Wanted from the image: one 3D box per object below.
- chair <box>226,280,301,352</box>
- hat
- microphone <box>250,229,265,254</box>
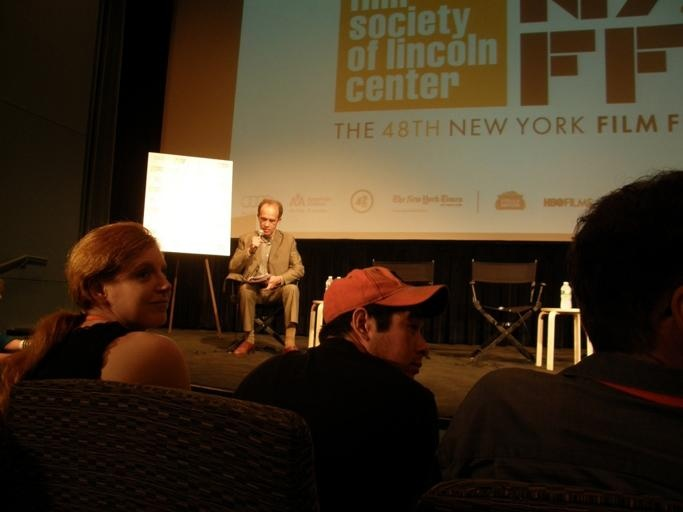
[{"bbox_3d":[-0.604,0.425,4.375,0.409,0.616,0.630,0,20,-2],"label":"chair"},{"bbox_3d":[0.096,0.098,1.405,0.240,0.110,0.164,-7,-6,14],"label":"hat"},{"bbox_3d":[-0.691,-0.118,4.491,0.111,0.194,0.252,2,0,-3],"label":"microphone"}]
